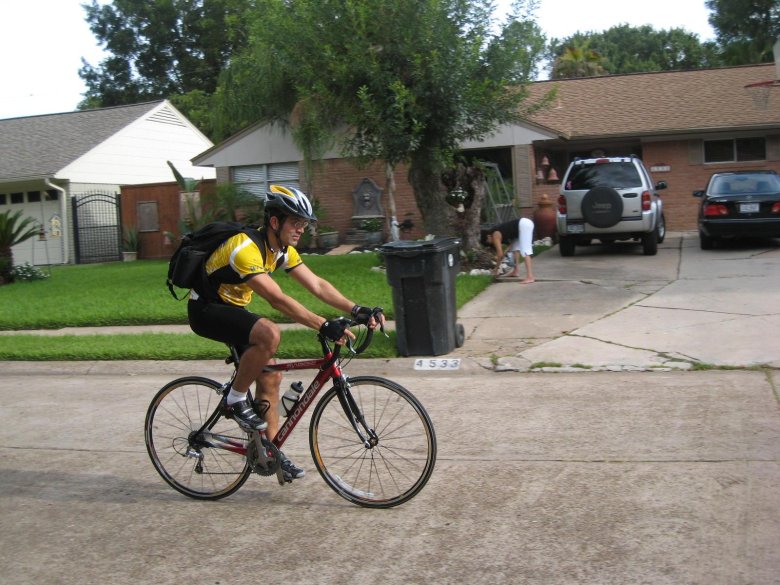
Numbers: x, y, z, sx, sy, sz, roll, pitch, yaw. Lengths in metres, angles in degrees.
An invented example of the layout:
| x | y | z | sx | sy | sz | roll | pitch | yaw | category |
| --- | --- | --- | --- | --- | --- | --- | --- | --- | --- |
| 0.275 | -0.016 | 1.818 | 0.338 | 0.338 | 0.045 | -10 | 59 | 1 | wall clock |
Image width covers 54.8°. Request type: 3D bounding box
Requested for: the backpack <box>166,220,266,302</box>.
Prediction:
| x | y | z | sx | sy | sz | roll | pitch | yaw | category |
| --- | --- | --- | --- | --- | --- | --- | --- | --- | --- |
| -1.086 | -0.241 | 5.249 | 0.748 | 0.551 | 0.428 | 17 | 10 | 2 | backpack |

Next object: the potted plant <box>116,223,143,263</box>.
| x | y | z | sx | sy | sz | roll | pitch | yaw | category |
| --- | --- | --- | --- | --- | --- | --- | --- | --- | --- |
| -9.504 | -1.856 | 27.145 | 0.872 | 1.318 | 0.814 | -2 | 7 | 9 | potted plant |

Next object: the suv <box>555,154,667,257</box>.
| x | y | z | sx | sy | sz | roll | pitch | yaw | category |
| --- | --- | --- | --- | --- | --- | --- | --- | --- | --- |
| 4.712 | -1.987 | 16.414 | 1.942 | 1.269 | 3.010 | 0 | 12 | 21 | suv |

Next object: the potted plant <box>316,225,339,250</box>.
| x | y | z | sx | sy | sz | roll | pitch | yaw | category |
| --- | --- | --- | --- | --- | --- | --- | --- | --- | --- |
| -2.078 | -1.782 | 25.210 | 0.905 | 0.481 | 0.766 | -1 | 0 | 0 | potted plant |

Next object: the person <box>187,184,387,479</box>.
| x | y | z | sx | sy | sz | roll | pitch | yaw | category |
| --- | --- | --- | --- | --- | --- | --- | --- | --- | --- |
| -0.845 | 0.143 | 5.144 | 1.154 | 1.739 | 0.576 | -3 | 7 | 3 | person |

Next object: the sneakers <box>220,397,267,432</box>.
| x | y | z | sx | sy | sz | roll | pitch | yaw | category |
| --- | --- | --- | --- | --- | --- | --- | --- | --- | --- |
| -0.981 | 0.816 | 5.167 | 0.406 | 0.143 | 0.150 | 16 | 18 | 28 | sneakers |

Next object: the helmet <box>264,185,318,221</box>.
| x | y | z | sx | sy | sz | roll | pitch | yaw | category |
| --- | --- | --- | --- | --- | --- | --- | --- | --- | --- |
| -0.710 | -0.588 | 5.112 | 0.397 | 0.140 | 0.282 | 13 | 17 | 22 | helmet |
